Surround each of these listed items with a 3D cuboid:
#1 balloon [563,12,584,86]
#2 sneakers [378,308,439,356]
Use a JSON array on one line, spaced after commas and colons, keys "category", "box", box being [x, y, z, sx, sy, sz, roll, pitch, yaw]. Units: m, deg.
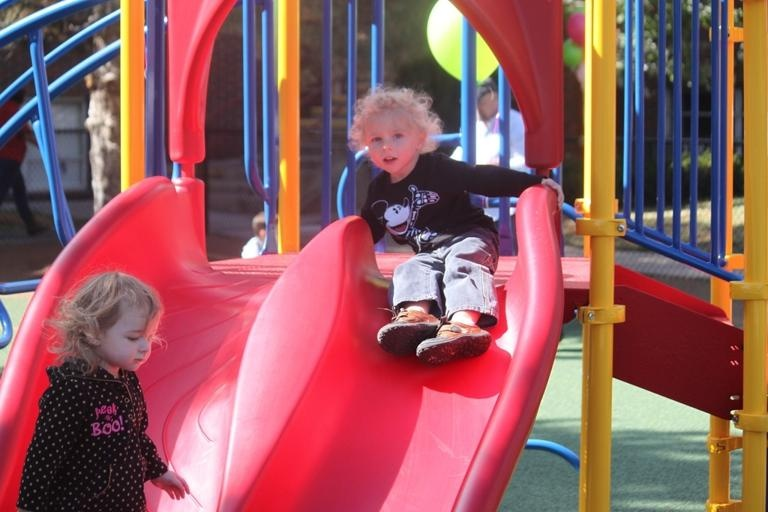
[{"category": "balloon", "box": [1.418, -1.587, 7.223, 0.151, 0.561, 0.938, 3, 9, 11]}, {"category": "sneakers", "box": [0.094, 0.300, 3.702, 0.252, 0.139, 0.127, -9, 32, -26]}]
